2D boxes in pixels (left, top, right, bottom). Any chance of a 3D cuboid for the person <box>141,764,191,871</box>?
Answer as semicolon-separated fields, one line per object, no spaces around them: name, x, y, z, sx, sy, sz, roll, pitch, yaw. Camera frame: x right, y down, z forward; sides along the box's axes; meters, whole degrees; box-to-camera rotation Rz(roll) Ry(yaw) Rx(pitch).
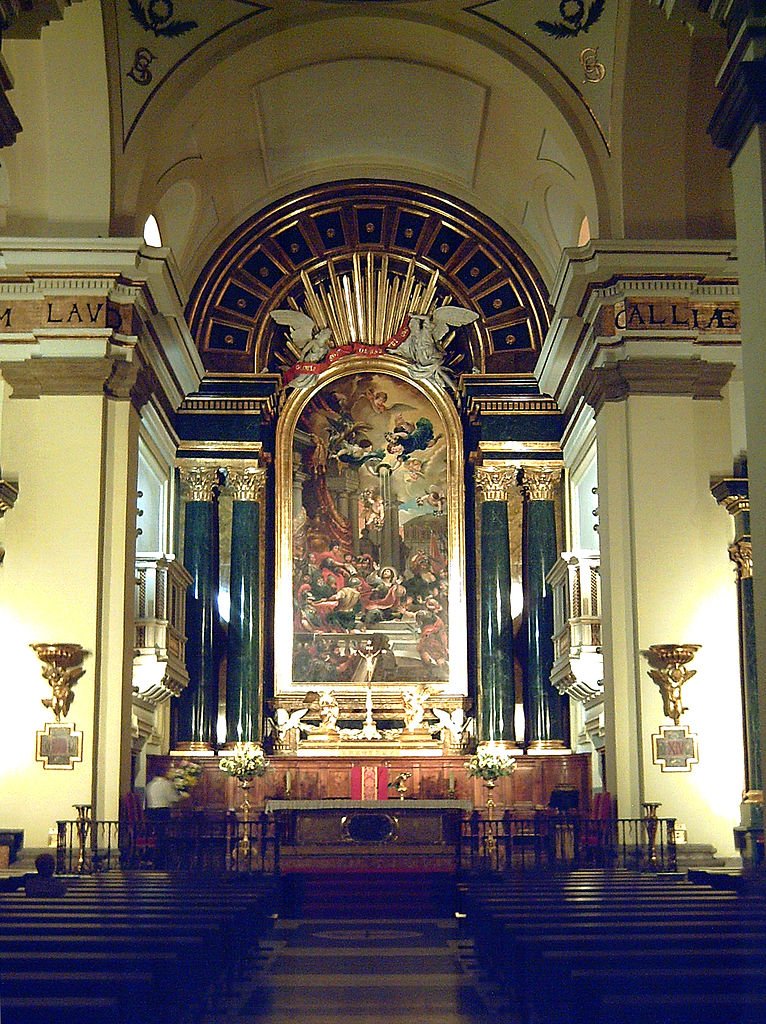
person;-2.547;3.765;13.564;0.451;1.396;0.452;-13;-5;-30

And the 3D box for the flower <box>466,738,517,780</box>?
flower;1.436;3.212;13.884;0.635;0.552;0.643;9;-11;-25

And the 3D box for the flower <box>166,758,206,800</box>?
flower;-2.544;3.454;14.077;0.368;0.468;0.435;6;-48;-12
